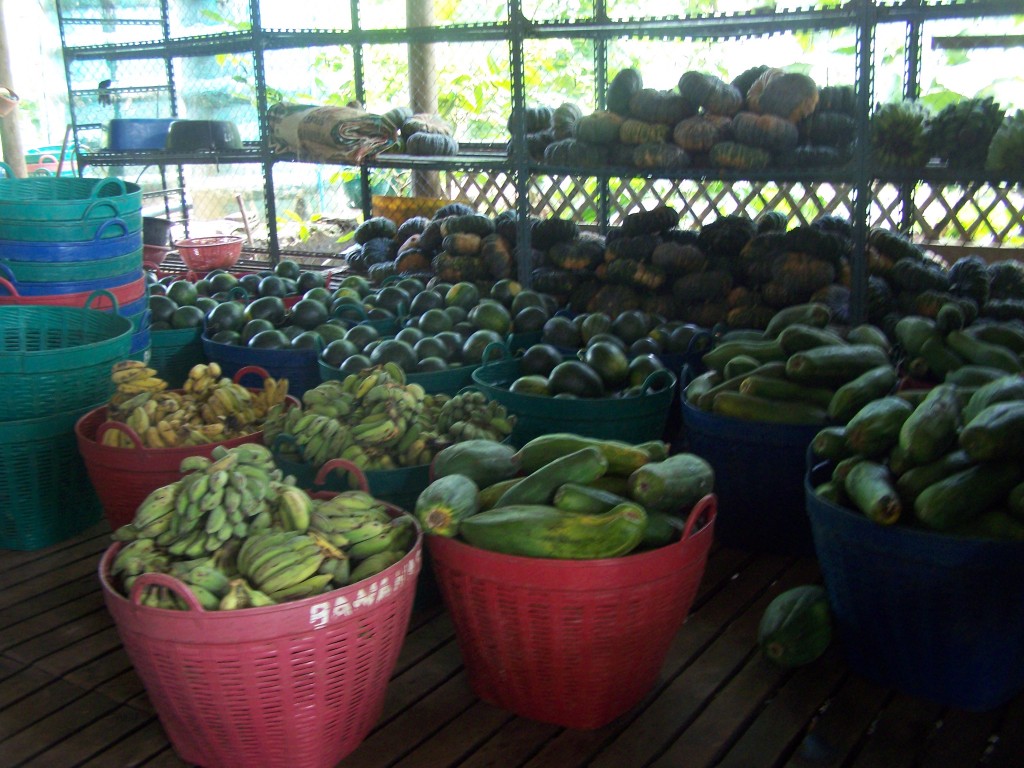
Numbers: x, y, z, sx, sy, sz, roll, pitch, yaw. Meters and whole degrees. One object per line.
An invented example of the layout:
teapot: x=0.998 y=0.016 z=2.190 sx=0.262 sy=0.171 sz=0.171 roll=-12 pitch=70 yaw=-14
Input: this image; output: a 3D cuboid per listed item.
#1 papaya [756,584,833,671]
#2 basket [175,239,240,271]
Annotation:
papaya: x=0.886 y=0.753 z=2.344 sx=0.230 sy=0.184 sz=0.163 roll=-2 pitch=16 yaw=-2
basket: x=-2.764 y=-1.238 z=7.024 sx=0.404 sy=0.162 sz=0.408 roll=5 pitch=22 yaw=13
